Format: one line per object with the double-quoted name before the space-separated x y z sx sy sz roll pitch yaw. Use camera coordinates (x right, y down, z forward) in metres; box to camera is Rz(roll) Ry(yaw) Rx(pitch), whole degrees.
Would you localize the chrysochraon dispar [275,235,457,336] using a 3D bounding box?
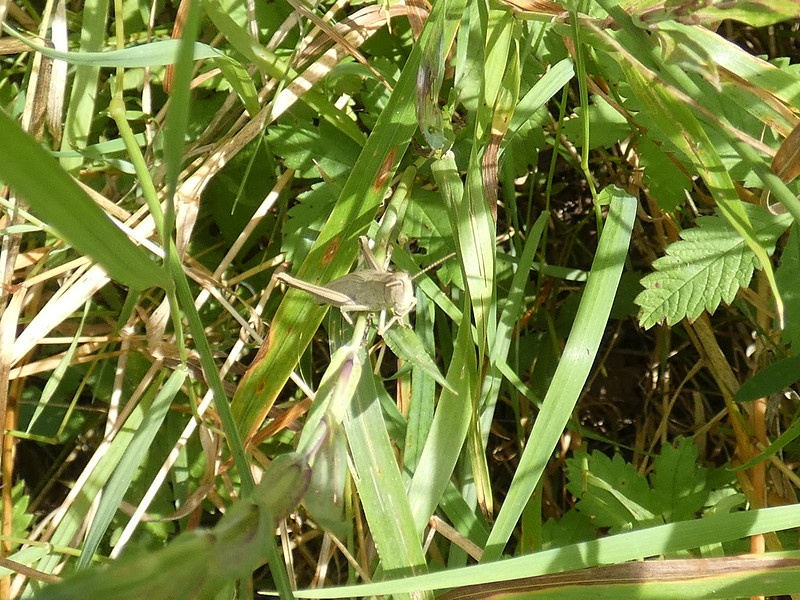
"chrysochraon dispar" -0.097 -0.073 1.824 0.264 0.161 0.234 15 35 32
